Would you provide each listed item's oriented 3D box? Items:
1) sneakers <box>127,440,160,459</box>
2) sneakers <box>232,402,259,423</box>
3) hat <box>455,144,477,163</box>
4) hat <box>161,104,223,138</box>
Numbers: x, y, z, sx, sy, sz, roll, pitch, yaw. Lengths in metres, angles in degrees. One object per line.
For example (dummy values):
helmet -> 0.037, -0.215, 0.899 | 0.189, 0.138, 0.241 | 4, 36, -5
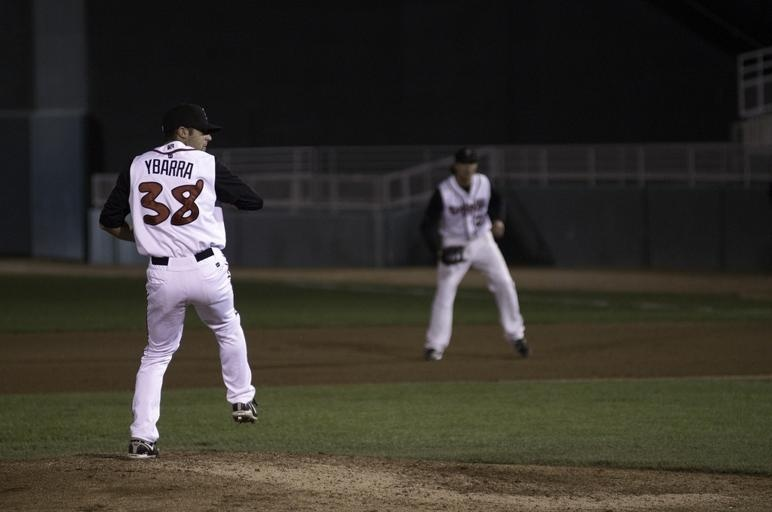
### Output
sneakers -> -3.381, 2.649, 16.930 | 0.211, 0.231, 0.551 | 2, 0, 14
sneakers -> -1.974, 2.178, 17.324 | 0.204, 0.248, 0.492 | -1, -4, 11
hat -> 1.242, -1.602, 19.369 | 0.371, 0.201, 0.265 | 5, 11, 44
hat -> -2.752, -1.920, 17.155 | 0.714, 0.339, 0.459 | -6, 10, -3
